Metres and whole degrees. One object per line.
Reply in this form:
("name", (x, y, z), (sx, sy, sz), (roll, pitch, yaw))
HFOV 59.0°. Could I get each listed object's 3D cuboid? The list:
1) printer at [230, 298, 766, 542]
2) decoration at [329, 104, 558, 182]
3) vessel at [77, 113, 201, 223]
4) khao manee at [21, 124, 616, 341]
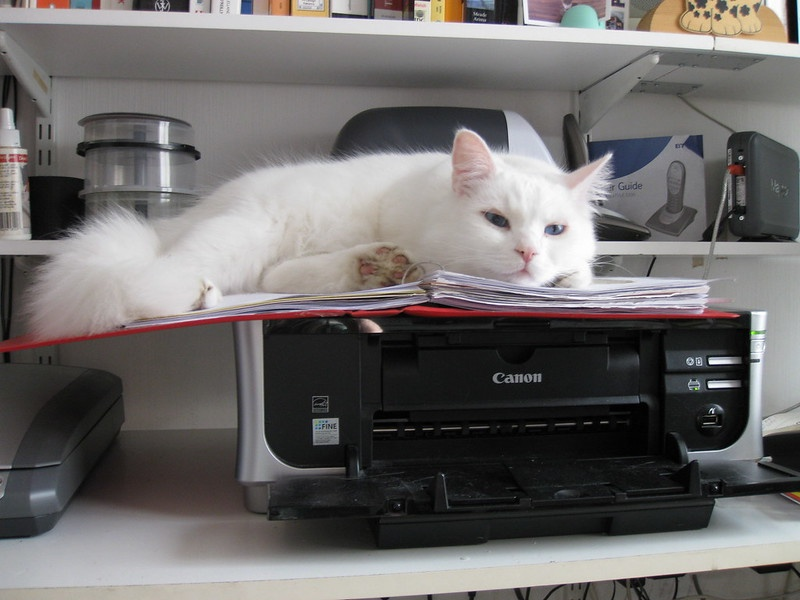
("printer", (0.138, 0.096, 1.241), (0.804, 0.273, 0.537), (1, 11, -2))
("decoration", (0.078, -0.285, 1.276), (0.404, 0.116, 0.145), (-1, 0, -9))
("vessel", (-0.463, -0.210, 1.318), (0.215, 0.182, 0.208), (1, -2, -34))
("khao manee", (-0.123, -0.108, 1.023), (0.737, 0.197, 0.356), (-2, 17, -20))
